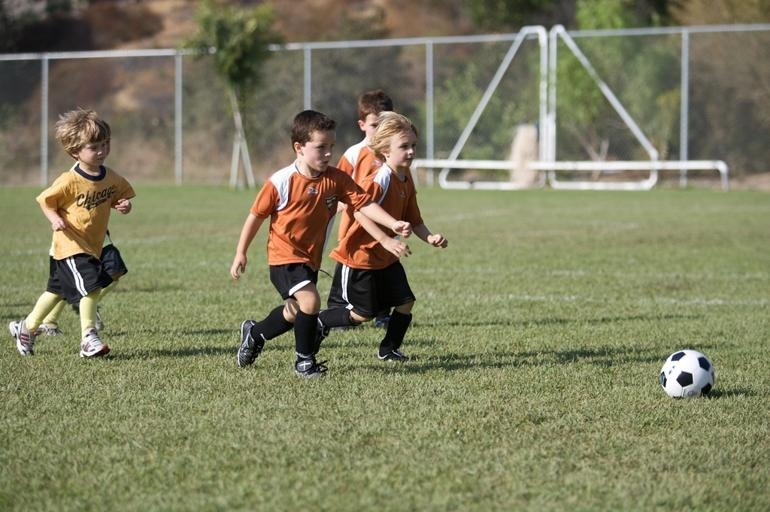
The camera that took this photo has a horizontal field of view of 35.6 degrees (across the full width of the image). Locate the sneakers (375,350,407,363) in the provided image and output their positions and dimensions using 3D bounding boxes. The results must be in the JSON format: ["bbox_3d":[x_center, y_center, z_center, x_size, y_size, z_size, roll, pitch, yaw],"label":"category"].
[{"bbox_3d":[0.047,0.771,9.041,0.249,0.105,0.083,0,0,-2],"label":"sneakers"}]

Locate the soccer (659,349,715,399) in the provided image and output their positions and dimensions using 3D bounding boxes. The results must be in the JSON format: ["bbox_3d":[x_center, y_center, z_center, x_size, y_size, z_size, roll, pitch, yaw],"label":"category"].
[{"bbox_3d":[2.132,0.804,8.624,0.355,0.389,0.332,-12,5,-18],"label":"soccer"}]

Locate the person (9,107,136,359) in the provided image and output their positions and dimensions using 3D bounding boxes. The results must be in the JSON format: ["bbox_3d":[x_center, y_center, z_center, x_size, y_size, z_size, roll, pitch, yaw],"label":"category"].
[{"bbox_3d":[-2.445,-0.188,9.195,0.905,1.798,0.780,0,14,6],"label":"person"}]

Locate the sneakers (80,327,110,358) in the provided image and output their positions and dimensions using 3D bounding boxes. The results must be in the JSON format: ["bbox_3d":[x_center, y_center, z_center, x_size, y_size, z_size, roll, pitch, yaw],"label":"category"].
[{"bbox_3d":[-2.195,0.678,9.091,0.126,0.152,0.316,-2,-1,-42],"label":"sneakers"}]

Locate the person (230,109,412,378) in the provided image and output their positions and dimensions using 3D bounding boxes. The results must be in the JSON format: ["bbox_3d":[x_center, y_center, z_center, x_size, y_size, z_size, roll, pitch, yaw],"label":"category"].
[{"bbox_3d":[-0.571,-0.092,8.779,1.101,1.876,0.540,-5,14,-14],"label":"person"}]

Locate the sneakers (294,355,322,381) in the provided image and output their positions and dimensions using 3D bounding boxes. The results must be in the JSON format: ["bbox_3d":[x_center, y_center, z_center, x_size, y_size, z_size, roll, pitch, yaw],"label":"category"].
[{"bbox_3d":[-0.507,0.817,8.770,0.293,0.205,0.096,-1,7,-15],"label":"sneakers"}]

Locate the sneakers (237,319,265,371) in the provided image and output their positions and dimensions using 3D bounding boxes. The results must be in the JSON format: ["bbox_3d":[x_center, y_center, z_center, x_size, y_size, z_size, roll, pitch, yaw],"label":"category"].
[{"bbox_3d":[-0.986,0.690,8.970,0.174,0.409,0.153,9,-2,29],"label":"sneakers"}]

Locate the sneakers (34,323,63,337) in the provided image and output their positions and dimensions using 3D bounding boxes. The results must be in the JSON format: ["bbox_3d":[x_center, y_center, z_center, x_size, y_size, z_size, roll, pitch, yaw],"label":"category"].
[{"bbox_3d":[-2.683,0.594,9.564,0.209,0.093,0.075,-3,9,-30],"label":"sneakers"}]
